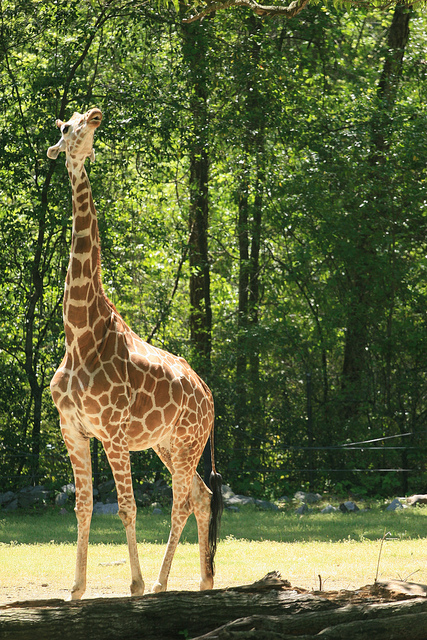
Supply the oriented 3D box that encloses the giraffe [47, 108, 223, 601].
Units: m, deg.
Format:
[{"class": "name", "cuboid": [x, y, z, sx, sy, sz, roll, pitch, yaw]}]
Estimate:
[{"class": "giraffe", "cuboid": [-0.851, 0.390, 15.575, 0.799, 4.924, 1.956, -3, -7, 43]}]
